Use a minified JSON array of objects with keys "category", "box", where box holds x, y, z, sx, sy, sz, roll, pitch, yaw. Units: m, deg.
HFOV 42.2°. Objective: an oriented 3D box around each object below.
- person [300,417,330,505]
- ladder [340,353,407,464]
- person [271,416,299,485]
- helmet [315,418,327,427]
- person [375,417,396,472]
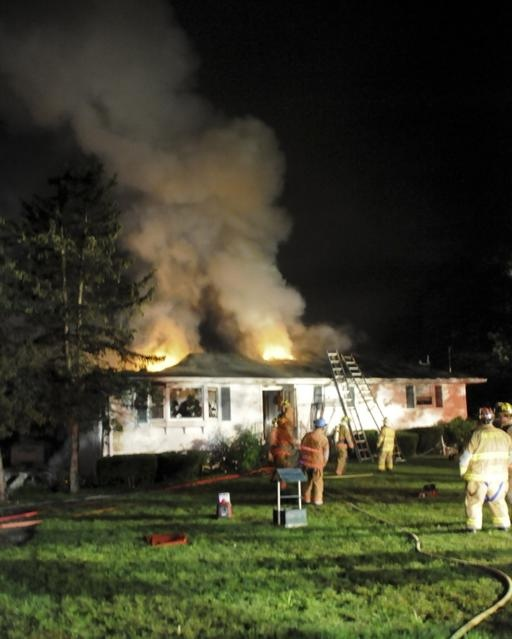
[{"category":"person","box":[1.024,2.588,12.074,0.491,1.470,1.711,-2,-10,3]},{"category":"ladder","box":[4.114,3.210,23.288,0.358,3.443,0.351,-29,-19,39]},{"category":"person","box":[0.556,2.405,13.164,0.509,1.035,0.689,0,-9,-5]},{"category":"helmet","box":[1.111,1.839,11.463,0.163,0.158,0.230,2,7,27]},{"category":"person","box":[3.539,3.409,18.141,0.445,1.463,1.581,-3,-10,11]}]
